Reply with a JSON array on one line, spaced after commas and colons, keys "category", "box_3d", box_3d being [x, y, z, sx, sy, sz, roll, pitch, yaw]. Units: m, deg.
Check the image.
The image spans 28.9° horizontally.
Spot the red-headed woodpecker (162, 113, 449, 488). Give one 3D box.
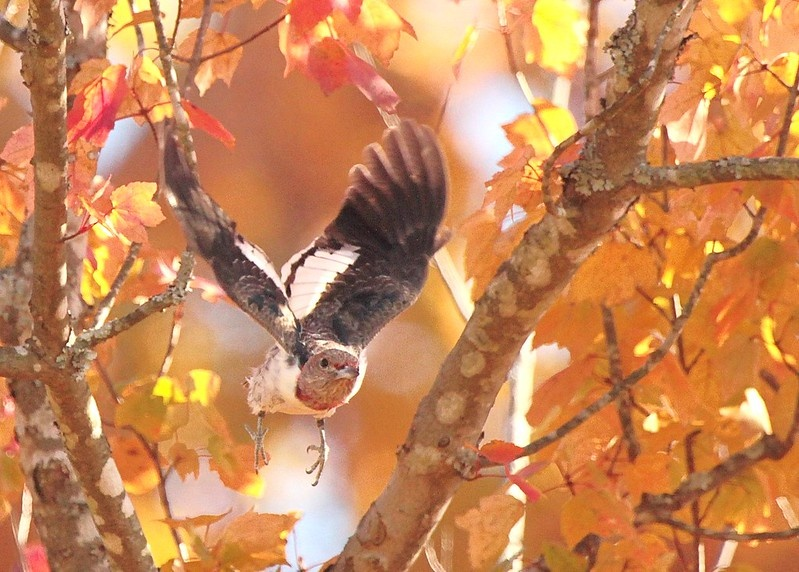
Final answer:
[{"category": "red-headed woodpecker", "box_3d": [-0.310, 0.079, 4.481, 0.885, 0.669, 1.028, 2, -68, -28]}]
